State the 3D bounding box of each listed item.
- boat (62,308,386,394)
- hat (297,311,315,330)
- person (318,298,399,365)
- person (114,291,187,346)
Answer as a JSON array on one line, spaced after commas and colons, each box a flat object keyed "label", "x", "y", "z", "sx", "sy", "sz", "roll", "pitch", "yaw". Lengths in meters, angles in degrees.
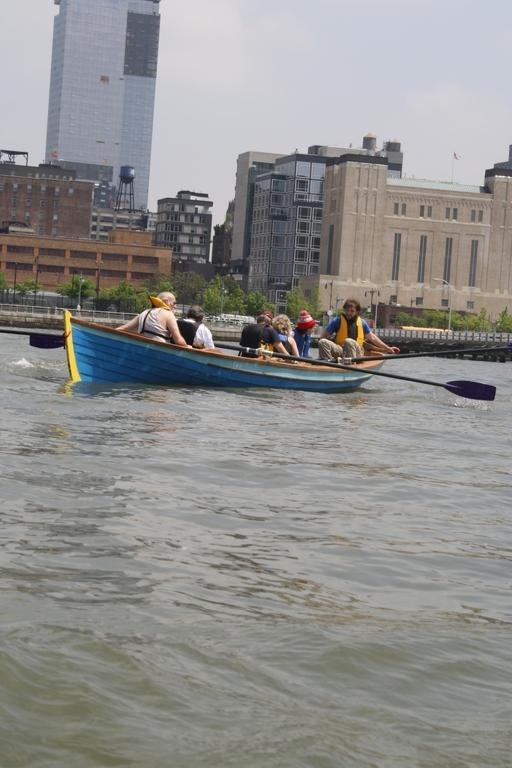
[{"label": "boat", "x": -0.792, "y": -0.382, "z": 15.019, "sx": 4.457, "sy": 0.913, "sz": 0.563, "roll": 2, "pitch": 7, "yaw": -42}, {"label": "hat", "x": 0.798, "y": -1.015, "z": 17.319, "sx": 0.336, "sy": 0.249, "sz": 0.276, "roll": -11, "pitch": 9, "yaw": -41}, {"label": "person", "x": 1.679, "y": -0.701, "z": 17.615, "sx": 1.242, "sy": 1.262, "sz": 0.938, "roll": 9, "pitch": 1, "yaw": 1}, {"label": "person", "x": -1.307, "y": -0.888, "z": 14.520, "sx": 0.839, "sy": 0.708, "sz": 1.164, "roll": 6, "pitch": 4, "yaw": -4}]
